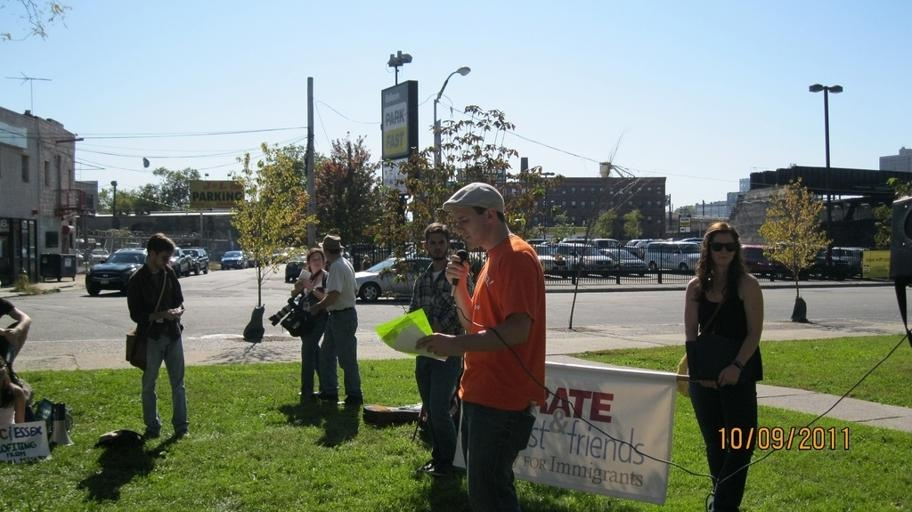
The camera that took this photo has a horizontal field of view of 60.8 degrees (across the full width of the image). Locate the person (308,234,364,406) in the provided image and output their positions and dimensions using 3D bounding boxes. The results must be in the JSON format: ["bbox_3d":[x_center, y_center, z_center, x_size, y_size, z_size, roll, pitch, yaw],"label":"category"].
[{"bbox_3d":[-2.303,1.245,14.926,0.876,3.047,1.356,-3,14,-11],"label":"person"}]

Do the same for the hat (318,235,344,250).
[{"bbox_3d":[-2.513,-0.283,15.352,0.498,0.211,0.550,5,12,-29],"label":"hat"}]

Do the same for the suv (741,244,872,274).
[{"bbox_3d":[16.231,0.213,35.981,5.506,1.304,1.483,1,-3,2],"label":"suv"}]

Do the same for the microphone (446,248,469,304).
[{"bbox_3d":[0.023,0.307,11.498,0.271,0.844,0.238,-5,-7,11],"label":"microphone"}]

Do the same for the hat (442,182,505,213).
[{"bbox_3d":[0.281,-0.825,11.160,0.630,0.294,0.467,8,3,1],"label":"hat"}]

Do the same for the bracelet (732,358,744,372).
[{"bbox_3d":[4.206,1.626,11.601,0.131,0.039,0.122,29,10,-43],"label":"bracelet"}]

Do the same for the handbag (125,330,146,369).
[{"bbox_3d":[-5.562,1.620,13.510,0.389,0.668,0.235,8,16,29],"label":"handbag"}]

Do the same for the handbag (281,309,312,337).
[{"bbox_3d":[-3.121,1.304,15.125,0.608,0.521,0.222,3,14,13],"label":"handbag"}]
